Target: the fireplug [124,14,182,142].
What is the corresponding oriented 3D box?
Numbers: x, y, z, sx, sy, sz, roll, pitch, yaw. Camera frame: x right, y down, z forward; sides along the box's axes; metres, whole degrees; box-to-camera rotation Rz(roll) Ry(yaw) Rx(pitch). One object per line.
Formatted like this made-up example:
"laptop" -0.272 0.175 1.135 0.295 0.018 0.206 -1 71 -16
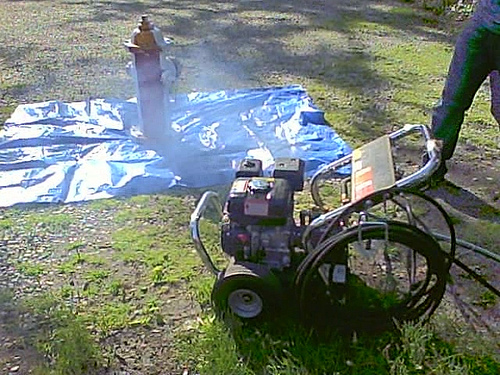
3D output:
"fireplug" -1.584 -1.692 6.025 0.824 1.844 0.822 11 26 20
